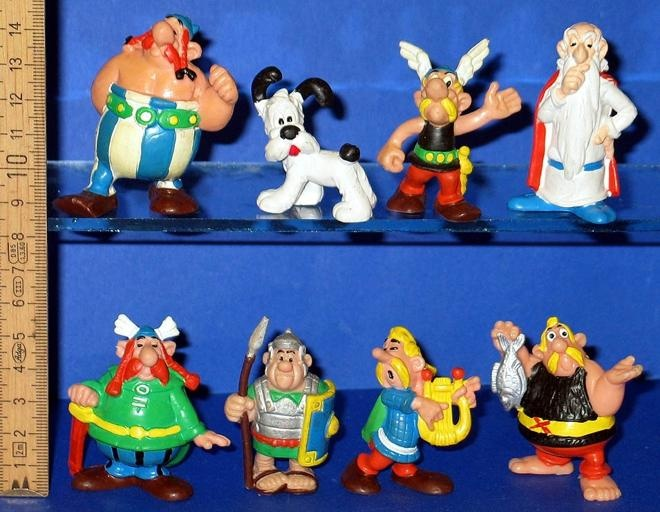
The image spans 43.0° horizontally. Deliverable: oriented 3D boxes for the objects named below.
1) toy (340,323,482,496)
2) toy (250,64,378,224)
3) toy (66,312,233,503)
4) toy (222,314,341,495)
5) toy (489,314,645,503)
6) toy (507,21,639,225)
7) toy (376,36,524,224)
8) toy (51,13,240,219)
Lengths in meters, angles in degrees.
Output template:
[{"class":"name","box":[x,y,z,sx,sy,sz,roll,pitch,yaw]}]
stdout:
[{"class":"toy","box":[0.172,0.341,1.833,0.265,0.356,0.183,6,6,21]},{"class":"toy","box":[-0.030,-0.246,1.777,0.237,0.319,0.165,3,16,19]},{"class":"toy","box":[-0.392,0.320,1.813,0.311,0.401,0.190,5,14,-9]},{"class":"toy","box":[-0.120,0.309,1.836,0.240,0.399,0.193,-3,8,-34]},{"class":"toy","box":[0.524,0.325,1.851,0.300,0.386,0.172,6,15,43]},{"class":"toy","box":[0.506,-0.276,1.746,0.247,0.403,0.129,3,6,16]},{"class":"toy","box":[0.261,-0.272,1.789,0.251,0.377,0.217,-5,9,-42]},{"class":"toy","box":[-0.382,-0.292,1.729,0.363,0.412,0.164,-1,7,-21]}]
